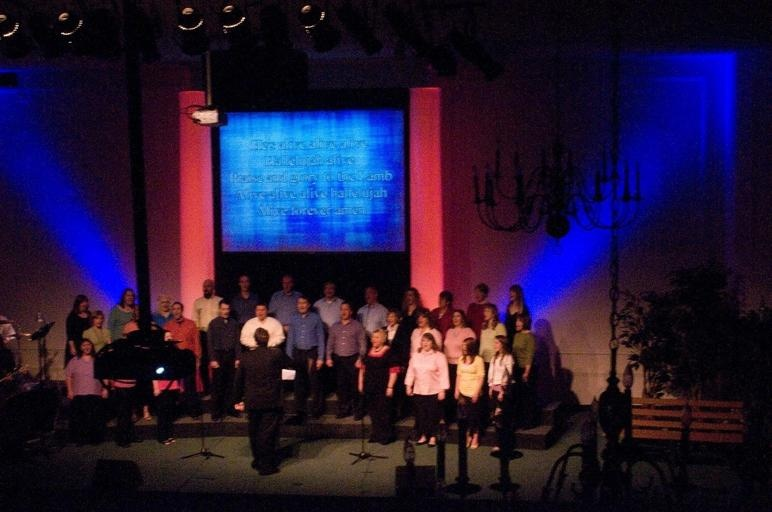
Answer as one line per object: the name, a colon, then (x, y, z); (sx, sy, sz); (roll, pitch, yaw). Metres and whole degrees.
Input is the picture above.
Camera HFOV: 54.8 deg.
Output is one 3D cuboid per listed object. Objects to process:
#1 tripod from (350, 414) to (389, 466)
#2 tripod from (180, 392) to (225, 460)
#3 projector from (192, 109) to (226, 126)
tripod: (-0.367, 3.230, 12.971); (0.530, 0.662, 0.569); (10, 16, 44)
tripod: (-3.269, 3.223, 13.195); (0.665, 0.618, 1.016); (3, -6, -23)
projector: (-3.185, -2.512, 13.363); (0.608, 0.278, 0.241); (-1, -6, 9)
